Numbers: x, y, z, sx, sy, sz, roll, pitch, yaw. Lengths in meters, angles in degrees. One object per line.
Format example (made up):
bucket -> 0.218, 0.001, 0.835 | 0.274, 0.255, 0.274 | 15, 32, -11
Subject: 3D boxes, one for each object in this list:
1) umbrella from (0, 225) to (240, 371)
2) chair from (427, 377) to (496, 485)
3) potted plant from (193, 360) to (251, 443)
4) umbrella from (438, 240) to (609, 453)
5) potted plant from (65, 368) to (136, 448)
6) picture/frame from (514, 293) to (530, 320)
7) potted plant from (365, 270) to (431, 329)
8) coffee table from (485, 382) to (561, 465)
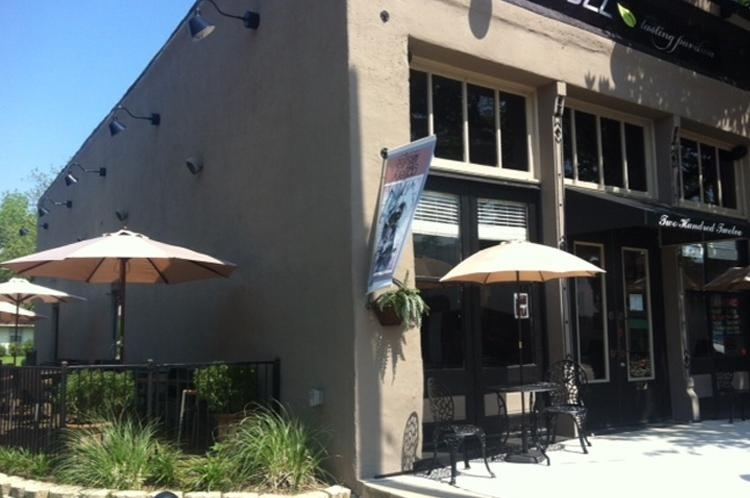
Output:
umbrella -> -4.529, 0.270, 13.496 | 2.981, 2.137, 2.959 | 9, -14, -40
chair -> 1.392, 2.941, 12.210 | 1.006, 1.630, 1.491 | -1, -14, 5
potted plant -> -2.623, 2.624, 13.050 | 1.167, 1.548, 1.081 | 4, -8, -24
umbrella -> 2.403, 1.625, 13.310 | 2.935, 3.836, 3.161 | -2, -9, 1
potted plant -> -4.965, 2.812, 13.293 | 1.189, 0.914, 1.247 | -6, -10, 34
picture/frame -> 2.493, 0.959, 12.671 | 0.292, 0.486, 0.144 | 1, -1, -12
potted plant -> 0.402, 0.834, 11.993 | 0.737, 0.583, 0.783 | -1, -6, 28
coffee table -> 2.558, 3.003, 12.796 | 1.137, 1.333, 1.209 | 8, -14, -35
